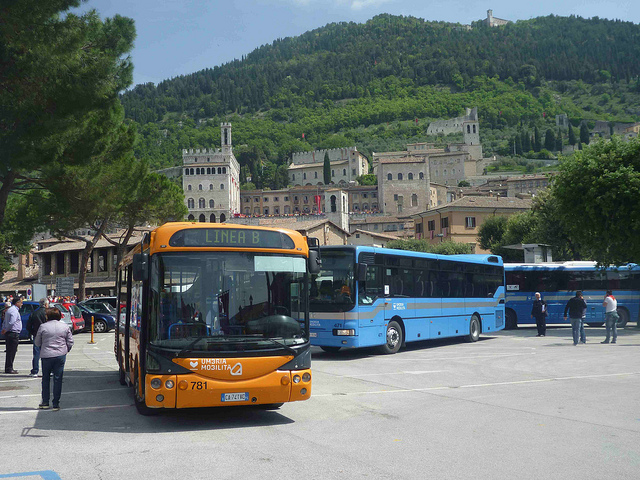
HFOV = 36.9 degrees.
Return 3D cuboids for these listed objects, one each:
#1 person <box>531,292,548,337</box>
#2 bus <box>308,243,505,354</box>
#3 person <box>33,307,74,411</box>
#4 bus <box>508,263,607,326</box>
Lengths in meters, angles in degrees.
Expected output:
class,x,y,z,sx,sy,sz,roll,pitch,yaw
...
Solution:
class,x,y,z,sx,sy,sz,roll,pitch,yaw
person,9.293,3.181,40.839,0.552,2.011,1.354,1,6,12
bus,3.543,2.125,36.384,2.404,4.769,11.507,4,8,36
person,-7.001,3.102,25.228,0.924,2.675,1.028,-2,6,-18
bus,11.057,2.377,45.216,5.869,3.083,2.089,-1,1,-2
